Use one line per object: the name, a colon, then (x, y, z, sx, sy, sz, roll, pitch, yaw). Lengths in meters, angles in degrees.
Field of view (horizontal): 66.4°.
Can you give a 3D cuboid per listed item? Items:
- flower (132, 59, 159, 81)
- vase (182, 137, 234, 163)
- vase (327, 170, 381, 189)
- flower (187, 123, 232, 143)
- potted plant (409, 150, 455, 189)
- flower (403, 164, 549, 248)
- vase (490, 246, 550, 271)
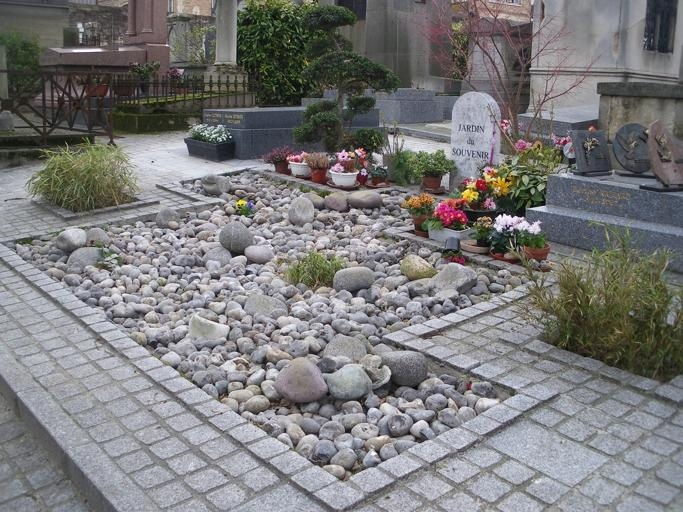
flower: (-7.232, -6.745, 19.055, 0.783, 0.634, 1.539, -1, 14, -4)
vase: (-2.778, -2.236, 10.908, 1.081, 0.435, 0.489, 9, 16, 30)
vase: (0.018, -1.263, 8.566, 0.454, 0.214, 0.447, 8, 17, 33)
flower: (-2.766, -2.565, 10.884, 0.666, 0.234, 0.529, 14, 26, 29)
potted plant: (1.466, -1.383, 8.306, 0.568, 0.695, 0.693, 4, 14, 28)
flower: (1.977, -0.818, 6.860, 1.247, 0.982, 1.182, -7, 18, -12)
vase: (2.038, -0.010, 5.622, 0.715, 0.218, 0.454, -2, 15, -8)
